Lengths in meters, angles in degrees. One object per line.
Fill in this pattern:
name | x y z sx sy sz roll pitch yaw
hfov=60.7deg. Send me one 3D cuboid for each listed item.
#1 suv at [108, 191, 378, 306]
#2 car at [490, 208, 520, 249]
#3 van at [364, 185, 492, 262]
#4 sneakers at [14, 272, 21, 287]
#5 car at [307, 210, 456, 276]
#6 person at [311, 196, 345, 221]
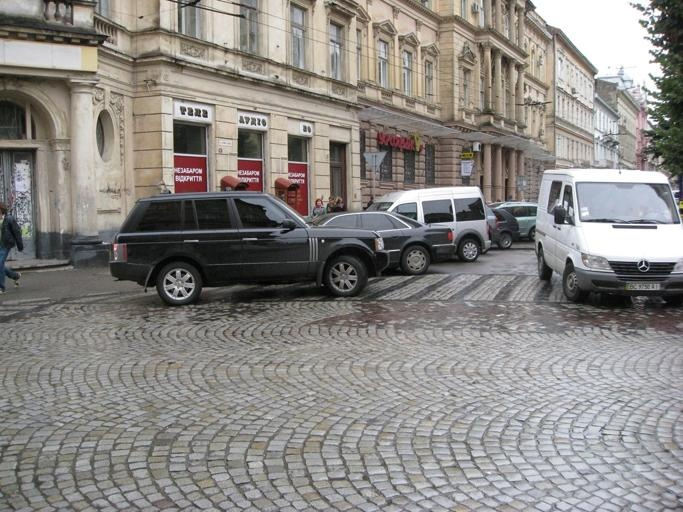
suv | -1.957 -0.237 12.515 4.947 1.671 2.395 -3 4 -8
car | 7.359 -1.112 25.612 1.505 1.165 2.405 -1 10 3
van | 2.204 -0.997 19.694 5.723 2.509 2.555 -3 4 -29
sneakers | -8.105 0.600 14.475 0.141 0.363 0.169 7 0 25
car | 1.213 -0.441 16.314 3.777 1.138 1.641 -3 4 -16
person | -0.477 -2.065 25.205 1.814 0.721 1.338 -6 9 -8
